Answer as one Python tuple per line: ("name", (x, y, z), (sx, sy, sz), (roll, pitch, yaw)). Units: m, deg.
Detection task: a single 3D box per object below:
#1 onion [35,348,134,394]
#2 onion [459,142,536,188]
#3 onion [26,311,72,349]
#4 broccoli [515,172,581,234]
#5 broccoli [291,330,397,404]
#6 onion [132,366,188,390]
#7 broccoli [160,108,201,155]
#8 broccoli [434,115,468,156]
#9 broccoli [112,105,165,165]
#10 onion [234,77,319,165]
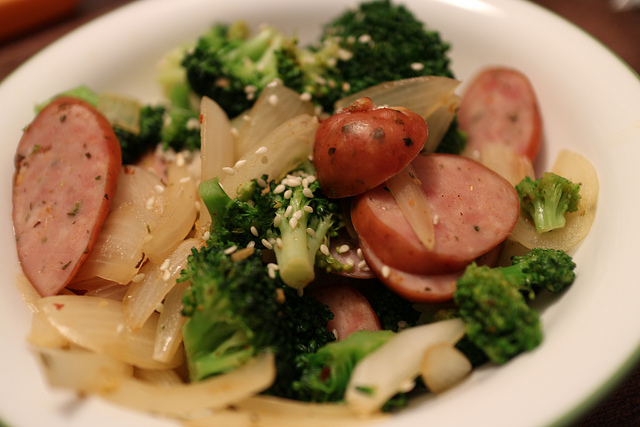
("onion", (-1.137, 0.760, 2.800), (0.474, 0.103, 0.293), (3, 74, -5))
("onion", (1.018, -0.322, 3.243), (0.314, 0.088, 0.330), (-1, 54, 10))
("onion", (-1.355, 0.596, 2.863), (0.175, 0.053, 0.188), (9, 97, 12))
("broccoli", (1.171, -0.038, 3.064), (0.311, 0.288, 0.282), (34, 69, -24))
("broccoli", (0.102, 0.721, 2.746), (0.387, 0.288, 0.160), (-23, 82, -42))
("onion", (-0.804, 0.815, 2.878), (0.149, 0.153, 0.048), (20, 77, -25))
("broccoli", (-0.870, -0.523, 3.605), (0.221, 0.118, 0.315), (2, 80, -8))
("broccoli", (0.749, -0.442, 3.426), (0.185, 0.123, 0.230), (-14, 94, -14))
("broccoli", (-1.118, -0.491, 3.568), (0.257, 0.103, 0.354), (29, 78, -41))
("onion", (-0.250, -0.454, 3.284), (0.423, 0.115, 0.411), (-40, 36, 13))
